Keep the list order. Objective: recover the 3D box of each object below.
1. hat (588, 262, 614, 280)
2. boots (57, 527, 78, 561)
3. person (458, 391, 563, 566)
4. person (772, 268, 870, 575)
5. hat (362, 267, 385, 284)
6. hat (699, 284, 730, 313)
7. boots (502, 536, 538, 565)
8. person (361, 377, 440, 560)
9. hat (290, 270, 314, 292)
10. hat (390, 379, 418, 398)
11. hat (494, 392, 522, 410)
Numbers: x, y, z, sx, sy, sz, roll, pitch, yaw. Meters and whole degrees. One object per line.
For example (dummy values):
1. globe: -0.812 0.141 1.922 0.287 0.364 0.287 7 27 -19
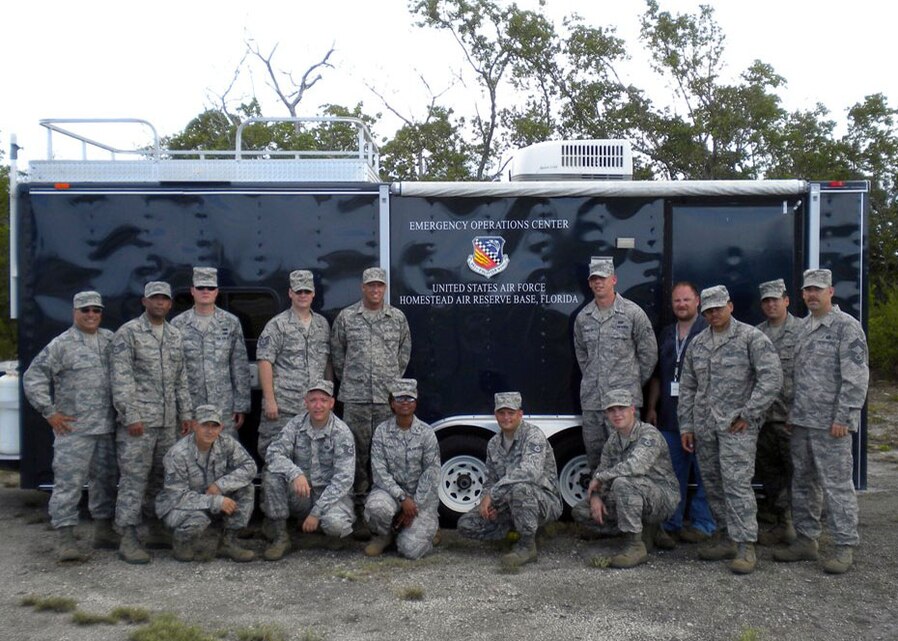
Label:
1. hat: 1.609 -0.542 9.631 0.231 0.163 0.303 1 12 7
2. boots: -3.824 2.243 9.100 0.201 0.295 0.220 -6 14 -26
3. person: 0.658 1.567 9.315 0.773 1.588 0.829 10 16 39
4. person: 3.711 0.972 8.949 0.698 2.809 0.975 4 13 20
5. hat: -0.791 -0.460 9.599 0.248 0.152 0.215 0 12 -1
6. hat: 2.711 -0.223 9.207 0.235 0.163 0.320 -15 -9 33
7. boots: 0.715 2.286 9.152 0.341 0.235 0.507 2 12 10
8. person: -0.479 1.510 9.292 0.755 1.735 0.609 0 12 0
9. hat: -1.561 -0.399 9.694 0.274 0.256 0.408 -2 12 -10
10. hat: -0.468 0.707 9.334 0.246 0.181 0.195 1 12 6
11. hat: 0.603 0.843 9.360 0.255 0.192 0.225 -1 12 -6
